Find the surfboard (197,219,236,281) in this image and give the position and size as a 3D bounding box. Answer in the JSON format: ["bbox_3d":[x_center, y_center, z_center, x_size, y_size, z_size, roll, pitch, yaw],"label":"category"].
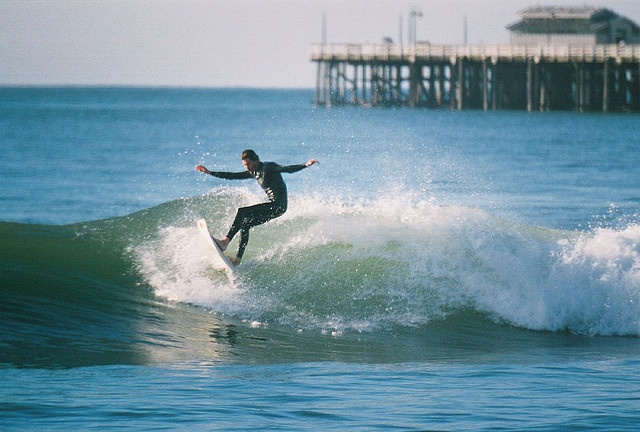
[{"bbox_3d":[-2.396,0.779,24.652,0.280,1.876,0.523,-1,36,43],"label":"surfboard"}]
